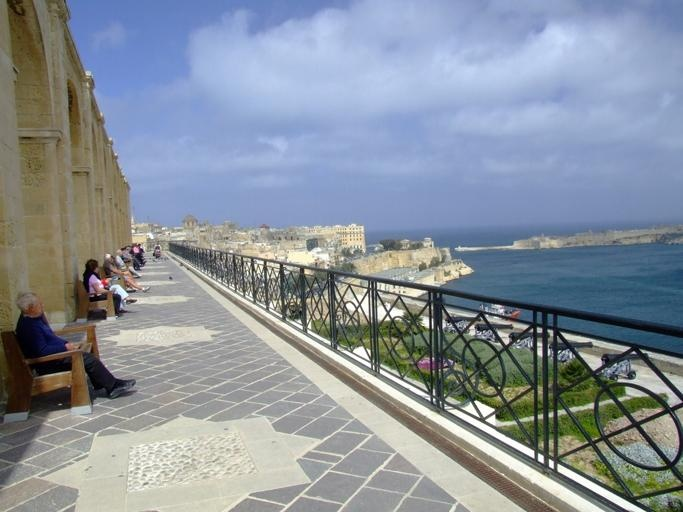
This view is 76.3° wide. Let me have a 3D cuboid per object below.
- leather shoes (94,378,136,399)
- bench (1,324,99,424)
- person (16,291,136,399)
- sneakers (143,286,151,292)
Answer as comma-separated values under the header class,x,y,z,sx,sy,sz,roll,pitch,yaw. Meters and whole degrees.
class,x,y,z,sx,sy,sz,roll,pitch,yaw
leather shoes,-2.521,1.470,4.930,0.581,0.236,0.194,-8,-1,13
bench,-3.160,1.167,4.735,0.787,0.897,1.042,-5,4,-22
person,-3.024,1.049,4.764,1.220,0.990,0.930,8,18,22
sneakers,-6.173,1.038,13.743,0.152,0.166,0.413,-1,-6,-29
